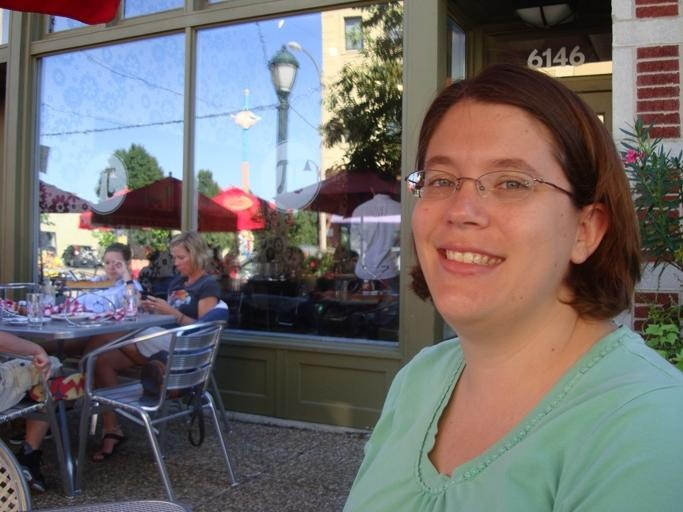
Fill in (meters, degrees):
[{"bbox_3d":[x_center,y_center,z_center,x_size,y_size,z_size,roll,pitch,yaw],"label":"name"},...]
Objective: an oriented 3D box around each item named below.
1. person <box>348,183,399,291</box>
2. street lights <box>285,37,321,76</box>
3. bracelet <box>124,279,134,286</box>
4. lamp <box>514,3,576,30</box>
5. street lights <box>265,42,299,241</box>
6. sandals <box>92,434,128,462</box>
[{"bbox_3d":[0.299,-0.235,5.174,0.485,0.899,0.286,2,41,6],"label":"person"},{"bbox_3d":[-0.306,-1.612,5.374,0.318,0.291,0.035,3,5,27],"label":"street lights"},{"bbox_3d":[-1.835,0.226,5.734,0.046,0.038,0.049,-1,4,-1],"label":"bracelet"},{"bbox_3d":[1.582,-1.895,5.191,0.410,0.106,0.312,2,6,20],"label":"lamp"},{"bbox_3d":[-0.491,-1.124,5.451,0.279,1.213,0.076,2,5,19],"label":"street lights"},{"bbox_3d":[-1.565,1.279,4.464,0.089,0.106,0.260,3,6,10],"label":"sandals"}]
